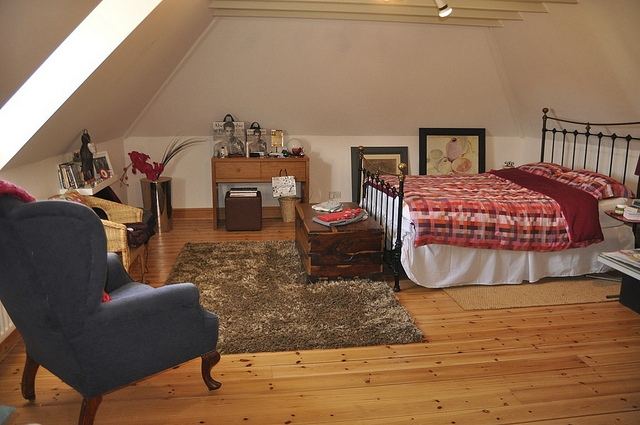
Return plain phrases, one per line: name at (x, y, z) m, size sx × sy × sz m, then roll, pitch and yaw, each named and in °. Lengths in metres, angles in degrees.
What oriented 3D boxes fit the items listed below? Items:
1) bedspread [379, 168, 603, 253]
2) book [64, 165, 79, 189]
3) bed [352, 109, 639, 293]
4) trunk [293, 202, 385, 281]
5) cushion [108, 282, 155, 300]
bedspread at (1.691, -0.181, 5.547) m, size 2.037 × 0.791 × 2.479 m, roll -1°, pitch 10°, yaw -7°
book at (-2.413, -0.340, 4.658) m, size 0.043 × 0.166 × 0.172 m, roll -18°, pitch 16°, yaw -17°
bed at (2.127, -0.131, 5.532) m, size 2.795 × 1.634 × 2.061 m, roll -1°, pitch 16°, yaw -4°
trunk at (0.114, 0.303, 5.268) m, size 0.892 × 0.469 × 1.142 m, roll -2°, pitch 13°, yaw -20°
cushion at (-1.390, 0.576, 3.494) m, size 0.177 × 0.040 × 0.180 m, roll 2°, pitch 9°, yaw 29°
